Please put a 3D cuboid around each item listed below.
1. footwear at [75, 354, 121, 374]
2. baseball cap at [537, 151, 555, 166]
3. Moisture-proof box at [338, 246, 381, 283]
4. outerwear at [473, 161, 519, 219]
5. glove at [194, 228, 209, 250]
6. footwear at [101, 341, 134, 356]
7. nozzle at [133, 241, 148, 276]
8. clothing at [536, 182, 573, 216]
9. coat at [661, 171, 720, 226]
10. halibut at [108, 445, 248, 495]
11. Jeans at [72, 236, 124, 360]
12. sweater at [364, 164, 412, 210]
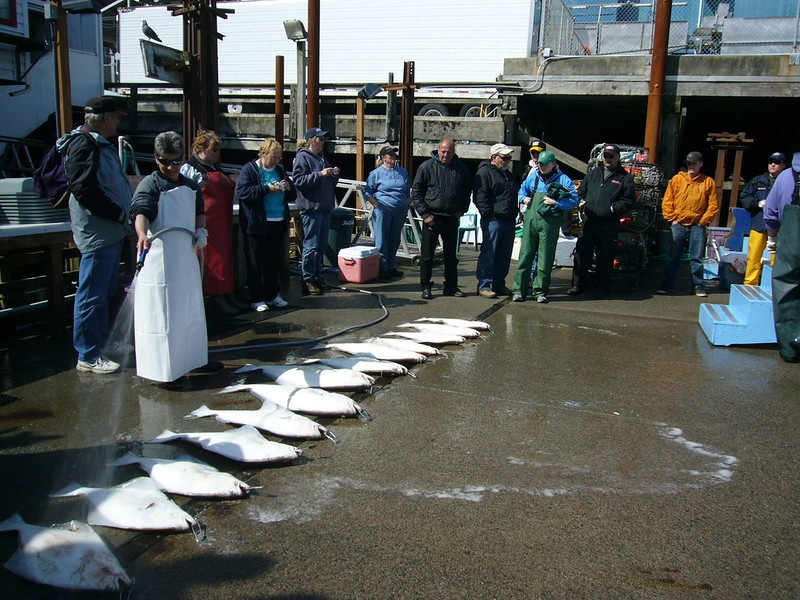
[{"bbox_3d":[-2.835,0.615,7.534,0.362,0.206,0.164,0,20,-10],"label":"footwear"},{"bbox_3d":[1.920,-1.884,10.603,0.192,0.172,0.323,7,15,18],"label":"baseball cap"},{"bbox_3d":[-0.615,-0.520,11.678,0.436,0.534,0.742,2,7,20],"label":"Moisture-proof box"},{"bbox_3d":[1.271,-1.451,10.730,0.602,0.732,0.394,4,13,6],"label":"outerwear"},{"bbox_3d":[-1.851,-0.587,7.488,0.124,0.064,0.182,3,48,3],"label":"glove"},{"bbox_3d":[-2.803,0.479,7.972,0.250,0.124,0.103,-3,19,-21],"label":"footwear"},{"bbox_3d":[-2.291,-0.341,7.091,0.111,0.261,0.063,4,13,6],"label":"nozzle"},{"bbox_3d":[1.985,-1.326,10.452,0.331,0.428,0.152,23,-15,27],"label":"clothing"},{"bbox_3d":[4.114,-1.441,11.408,0.729,0.736,0.374,7,14,18],"label":"coat"},{"bbox_3d":[-1.616,1.308,5.963,0.894,0.149,0.374,12,27,13],"label":"halibut"},{"bbox_3d":[-2.877,0.002,7.646,0.401,1.713,0.484,3,24,-15],"label":"Jeans"},{"bbox_3d":[-0.184,-1.694,12.152,0.832,0.908,0.532,-2,4,-11],"label":"sweater"}]
